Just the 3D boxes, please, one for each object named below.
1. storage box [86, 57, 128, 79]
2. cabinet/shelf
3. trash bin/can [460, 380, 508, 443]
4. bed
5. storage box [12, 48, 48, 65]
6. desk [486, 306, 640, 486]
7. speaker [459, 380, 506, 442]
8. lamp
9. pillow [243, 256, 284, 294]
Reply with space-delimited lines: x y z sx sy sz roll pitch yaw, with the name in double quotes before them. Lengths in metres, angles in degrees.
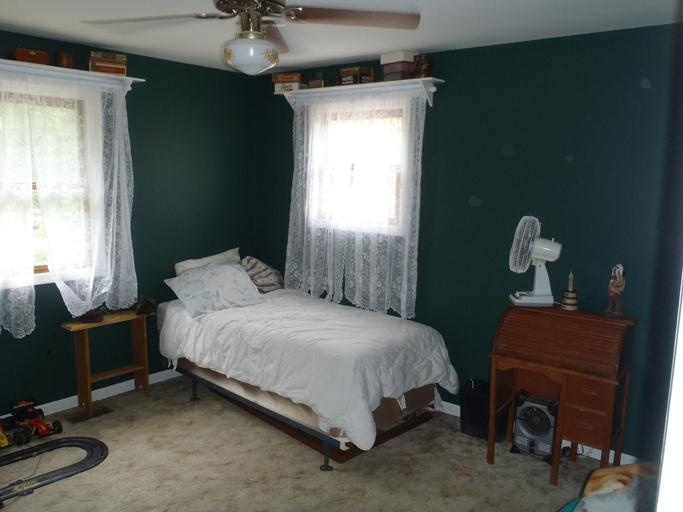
"storage box" -2.037 -1.641 4.585 0.206 0.105 0.153 -7 13 -42
"cabinet/shelf" -2.194 1.007 4.851 0.260 0.746 0.794 7 11 36
"trash bin/can" 1.231 1.290 4.450 0.332 0.409 0.411 -4 8 -44
"bed" -0.518 0.737 4.616 2.220 0.929 1.352 9 15 43
"storage box" -2.534 -1.624 4.283 0.267 0.141 0.190 -8 13 -32
"desk" 1.621 1.002 3.772 1.026 1.413 0.657 7 12 40
"speaker" 1.223 1.289 4.437 0.328 0.404 0.403 -5 10 -40
"lamp" -0.541 -1.217 3.102 0.304 0.318 0.309 -3 10 -12
"pillow" -0.854 0.182 5.584 0.426 0.150 0.331 44 13 29
